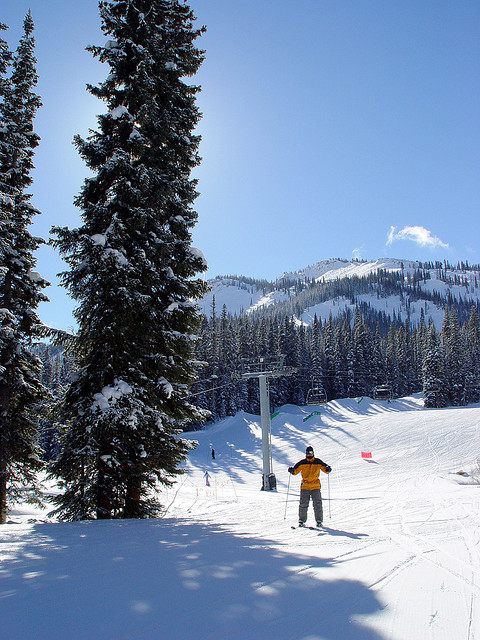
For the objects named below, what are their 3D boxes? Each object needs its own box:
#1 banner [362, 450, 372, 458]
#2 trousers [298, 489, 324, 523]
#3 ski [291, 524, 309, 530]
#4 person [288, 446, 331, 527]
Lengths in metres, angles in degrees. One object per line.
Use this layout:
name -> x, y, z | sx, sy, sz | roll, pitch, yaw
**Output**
banner -> 6.957, 7.385, 38.531 | 0.382, 0.130, 0.413 | -5, 10, 22
trousers -> 1.279, 3.297, 12.455 | 0.440, 0.580, 0.500 | 7, 1, 6
ski -> 0.985, 3.533, 11.980 | 0.096, 0.036, 0.297 | -11, -11, 43
person -> 1.238, 3.002, 12.654 | 0.715, 1.451, 1.128 | 6, 1, 1
